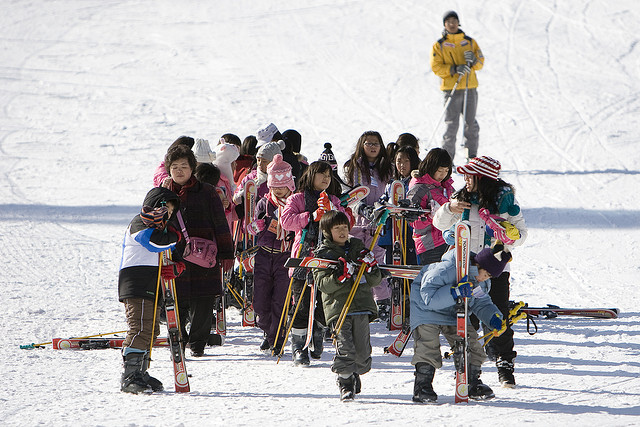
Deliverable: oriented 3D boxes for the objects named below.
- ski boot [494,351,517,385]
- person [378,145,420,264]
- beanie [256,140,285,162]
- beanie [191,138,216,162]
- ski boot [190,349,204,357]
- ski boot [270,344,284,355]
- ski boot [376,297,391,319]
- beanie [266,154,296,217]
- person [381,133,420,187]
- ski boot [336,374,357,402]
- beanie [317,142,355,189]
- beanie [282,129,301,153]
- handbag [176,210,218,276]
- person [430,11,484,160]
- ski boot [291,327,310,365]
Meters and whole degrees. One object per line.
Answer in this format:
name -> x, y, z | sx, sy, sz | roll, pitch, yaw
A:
ski boot -> 2.754, 2.317, 14.285 | 0.280, 0.494, 0.163 | 2, -4, 10
person -> 1.255, -0.384, 16.207 | 0.484, 2.428, 0.371 | -7, -16, 44
beanie -> -0.857, -1.081, 16.233 | 0.453, 0.312, 0.307 | 10, 1, -8
beanie -> -2.078, -1.157, 17.099 | 0.460, 0.372, 0.342 | -18, 28, -37
ski boot -> -2.015, 2.267, 15.416 | 0.220, 0.074, 0.090 | 2, -5, 4
ski boot -> -0.722, 2.222, 15.472 | 0.136, 0.196, 0.202 | 2, -9, -12
ski boot -> 1.093, 1.672, 16.713 | 0.282, 0.343, 0.137 | 3, 5, 4
beanie -> -0.649, -0.657, 15.407 | 0.452, 0.592, 0.272 | 2, -4, -4
person -> 1.514, -0.956, 17.405 | 0.612, 0.397, 1.548 | -11, -37, -3
ski boot -> 0.388, 2.565, 14.038 | 0.212, 0.415, 0.619 | -12, 1, 8
beanie -> 0.141, -0.896, 16.954 | 0.328, 0.503, 0.963 | 4, -15, 14
beanie -> -0.504, -1.403, 17.797 | 0.339, 0.434, 0.424 | 2, -46, 7
handbag -> -1.910, 0.418, 15.241 | 0.562, 0.827, 0.484 | 16, -7, -28
person -> 2.992, -2.921, 20.824 | 1.092, 3.133, 1.201 | 1, -4, 24
ski boot -> -0.332, 2.119, 15.194 | 0.324, 0.572, 0.235 | 2, -4, 8
